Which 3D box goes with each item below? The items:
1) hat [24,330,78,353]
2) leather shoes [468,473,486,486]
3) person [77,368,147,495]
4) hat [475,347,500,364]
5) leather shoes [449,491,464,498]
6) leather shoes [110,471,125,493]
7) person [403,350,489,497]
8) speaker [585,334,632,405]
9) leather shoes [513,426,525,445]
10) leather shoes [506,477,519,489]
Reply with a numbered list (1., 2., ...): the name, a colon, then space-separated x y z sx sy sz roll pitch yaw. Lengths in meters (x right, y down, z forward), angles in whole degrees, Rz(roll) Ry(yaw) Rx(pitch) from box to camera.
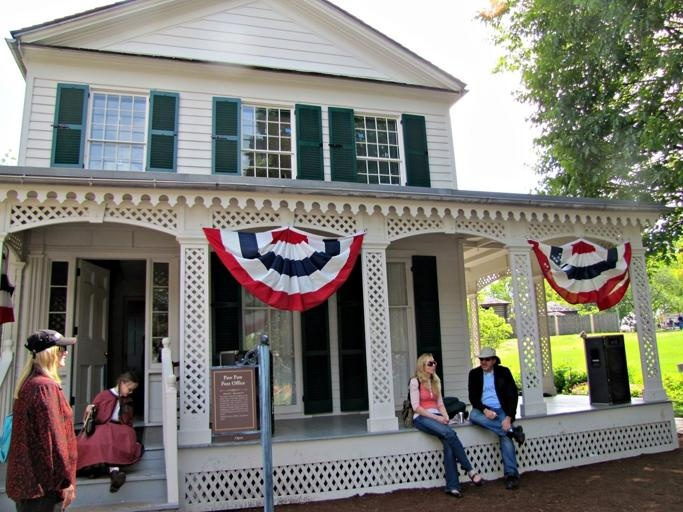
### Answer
1. hat: -3.327 0.957 6.875 0.496 0.262 0.333 -12 12 -36
2. leather shoes: 2.213 3.687 9.890 0.238 0.282 0.372 -5 -8 10
3. person: -3.577 2.709 9.281 0.948 1.741 0.939 1 -9 -25
4. hat: 2.643 1.780 10.774 0.274 0.164 0.381 -6 -24 36
5. leather shoes: 1.822 3.818 9.605 0.097 0.045 0.298 1 0 -4
6. leather shoes: -3.315 3.322 8.821 0.119 0.313 0.220 28 8 -28
7. person: 1.651 2.781 10.060 1.078 2.250 0.654 -5 -8 12
8. speaker: 5.396 2.294 12.204 0.776 1.370 0.828 -6 -9 20
9. leather shoes: 2.992 3.034 10.089 0.140 0.189 0.436 -2 1 6
10. leather shoes: 2.816 3.753 9.896 0.108 0.229 0.236 6 -35 6
